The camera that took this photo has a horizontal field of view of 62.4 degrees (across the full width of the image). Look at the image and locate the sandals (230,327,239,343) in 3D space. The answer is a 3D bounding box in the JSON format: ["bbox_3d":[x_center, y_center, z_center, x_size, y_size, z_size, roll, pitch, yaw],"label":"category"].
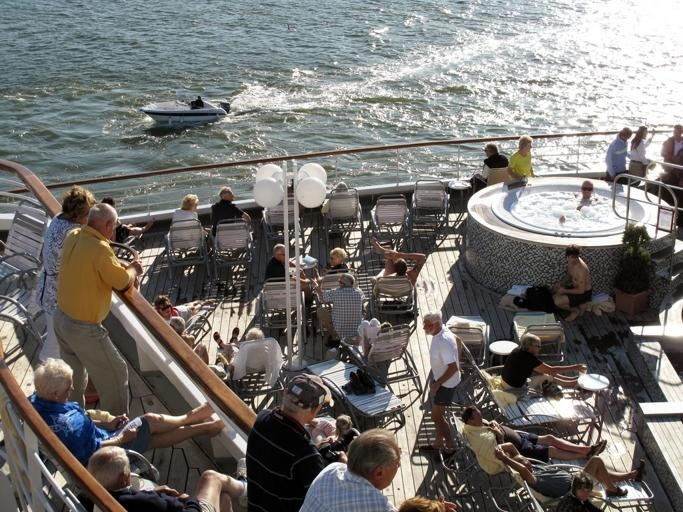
[{"bbox_3d":[-1.541,1.156,8.139,0.100,0.305,0.117,5,16,-3],"label":"sandals"}]

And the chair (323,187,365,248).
[{"bbox_3d":[-0.014,-0.768,11.243,0.714,1.209,0.990,-1,9,-5],"label":"chair"}]

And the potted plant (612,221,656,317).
[{"bbox_3d":[4.767,0.227,9.105,0.540,1.293,0.745,0,30,0],"label":"potted plant"}]

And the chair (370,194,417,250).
[{"bbox_3d":[0.976,-0.653,10.933,0.801,1.493,1.063,-1,53,2],"label":"chair"}]

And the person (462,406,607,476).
[{"bbox_3d":[2.068,2.024,6.139,1.334,0.586,0.775,-6,25,12],"label":"person"}]

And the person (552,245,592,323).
[{"bbox_3d":[3.716,0.467,9.017,0.605,1.170,0.552,-6,37,11],"label":"person"}]

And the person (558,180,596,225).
[{"bbox_3d":[4.368,-0.975,10.416,0.315,0.361,0.852,21,62,15],"label":"person"}]

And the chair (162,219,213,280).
[{"bbox_3d":[-2.789,-0.160,10.193,0.628,1.012,0.765,-5,-7,-26],"label":"chair"}]

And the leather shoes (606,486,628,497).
[{"bbox_3d":[2.917,2.515,5.957,0.250,0.095,0.097,-2,49,1],"label":"leather shoes"}]

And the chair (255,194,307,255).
[{"bbox_3d":[-1.123,-0.712,10.866,0.925,1.224,0.911,0,-4,-35],"label":"chair"}]

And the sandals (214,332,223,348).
[{"bbox_3d":[-1.778,1.224,8.120,0.092,0.267,0.069,-16,3,3],"label":"sandals"}]

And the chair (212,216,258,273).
[{"bbox_3d":[-2.019,-0.255,10.147,0.696,1.267,0.915,-1,60,-10],"label":"chair"}]

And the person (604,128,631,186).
[{"bbox_3d":[5.583,-2.063,11.306,0.467,1.169,0.485,9,30,14],"label":"person"}]

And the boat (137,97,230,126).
[{"bbox_3d":[-7.416,-6.906,26.617,3.873,1.496,1.818,-5,41,-3],"label":"boat"}]

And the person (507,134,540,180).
[{"bbox_3d":[3.617,-2.002,11.226,0.505,0.988,0.684,12,32,19],"label":"person"}]

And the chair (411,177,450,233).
[{"bbox_3d":[1.838,-1.213,11.662,0.727,1.334,0.939,3,35,12],"label":"chair"}]
